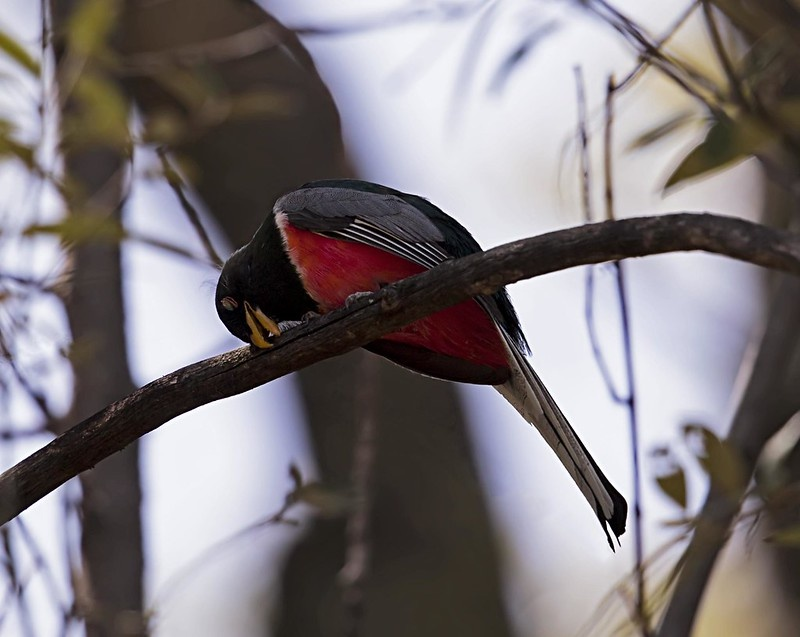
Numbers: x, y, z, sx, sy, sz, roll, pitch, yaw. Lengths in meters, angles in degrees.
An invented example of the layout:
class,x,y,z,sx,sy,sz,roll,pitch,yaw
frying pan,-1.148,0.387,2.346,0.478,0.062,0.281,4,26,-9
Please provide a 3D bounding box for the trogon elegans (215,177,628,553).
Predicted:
class,x,y,z,sx,sy,sz,roll,pitch,yaw
trogon elegans,0.141,-0.002,5.235,2.505,1.650,0.879,4,-7,23
